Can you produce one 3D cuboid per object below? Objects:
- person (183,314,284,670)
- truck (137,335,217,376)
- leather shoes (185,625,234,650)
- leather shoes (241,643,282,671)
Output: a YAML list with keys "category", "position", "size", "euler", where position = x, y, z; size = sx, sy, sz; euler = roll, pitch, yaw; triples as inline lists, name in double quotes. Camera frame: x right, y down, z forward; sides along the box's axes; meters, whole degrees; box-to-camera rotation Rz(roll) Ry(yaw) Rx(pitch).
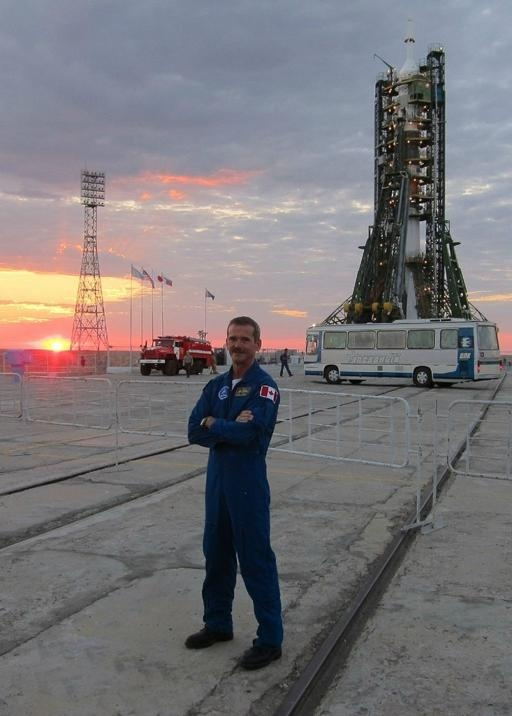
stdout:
- category: "person"
  position: [-0.090, 0.671, 3.257]
  size: [0.518, 1.782, 0.619]
  euler: [-1, 2, -31]
- category: "truck"
  position: [-4.635, -0.078, 35.616]
  size: [2.253, 2.355, 5.402]
  euler: [-3, -5, 23]
- category: "leather shoes"
  position: [-0.266, 1.530, 3.357]
  size: [0.276, 0.107, 0.089]
  euler: [7, -12, -19]
- category: "leather shoes"
  position: [0.029, 1.526, 3.132]
  size: [0.079, 0.088, 0.210]
  euler: [-16, -24, 42]
